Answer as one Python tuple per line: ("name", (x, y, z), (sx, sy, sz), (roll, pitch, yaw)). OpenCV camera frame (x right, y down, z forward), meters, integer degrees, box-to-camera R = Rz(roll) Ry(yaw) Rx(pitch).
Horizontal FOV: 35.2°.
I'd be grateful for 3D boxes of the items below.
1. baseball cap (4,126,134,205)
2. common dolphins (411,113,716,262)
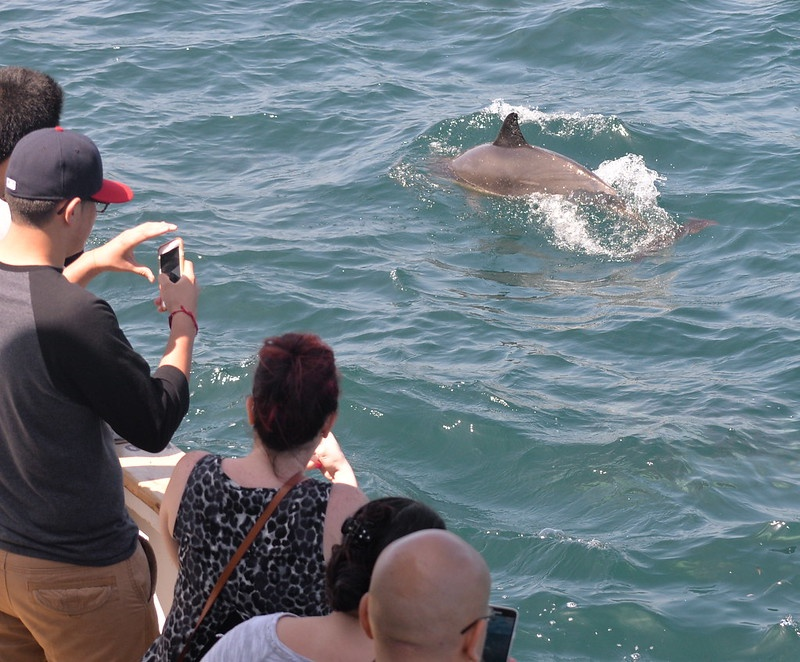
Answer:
("baseball cap", (-1.759, -0.896, 6.819), (0.601, 0.278, 0.372), (-9, 27, -37))
("common dolphins", (2.233, -1.896, 16.262), (4.432, 1.350, 1.468), (19, 59, 21))
